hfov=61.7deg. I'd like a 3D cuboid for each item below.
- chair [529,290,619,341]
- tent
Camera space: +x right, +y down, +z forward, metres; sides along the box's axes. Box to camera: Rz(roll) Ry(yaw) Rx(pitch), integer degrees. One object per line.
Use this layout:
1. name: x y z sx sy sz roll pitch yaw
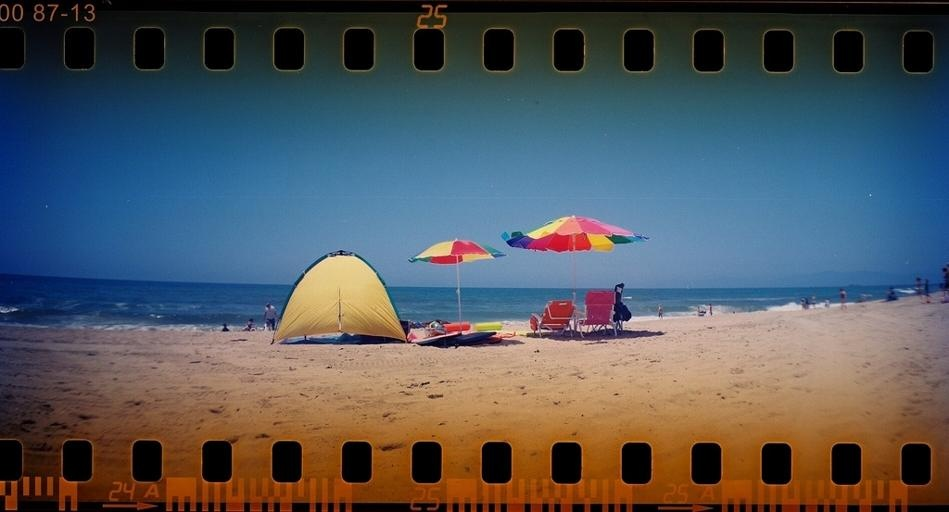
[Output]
1. chair: 2.628 1.724 22.748 1.382 1.034 2.183 2 -5 -38
2. tent: -3.680 1.074 21.826 3.228 2.388 0.516 0 -3 -5
